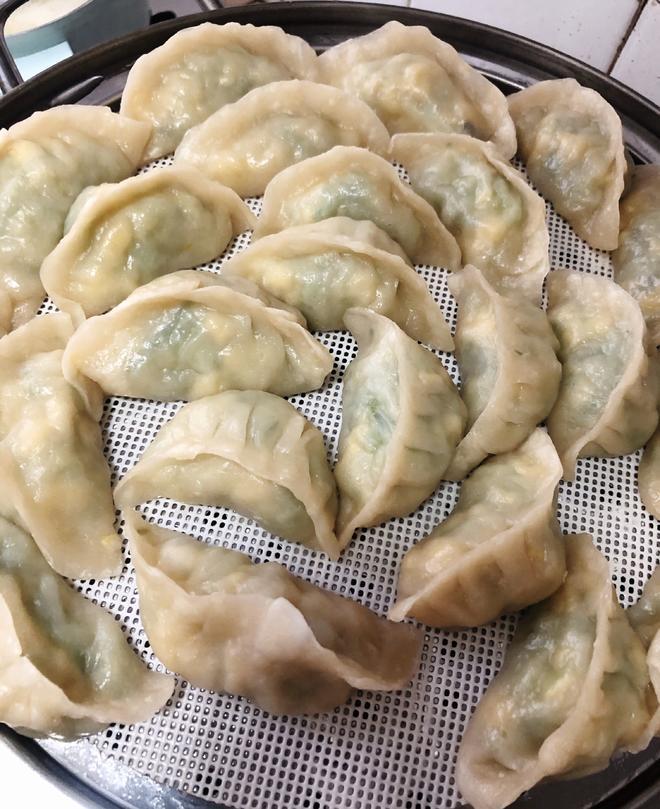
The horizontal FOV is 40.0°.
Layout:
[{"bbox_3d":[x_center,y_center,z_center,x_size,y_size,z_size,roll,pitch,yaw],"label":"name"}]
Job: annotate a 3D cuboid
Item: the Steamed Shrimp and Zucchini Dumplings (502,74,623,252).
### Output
[{"bbox_3d":[0.542,-0.526,2.067,0.151,0.289,0.369,-30,61,35],"label":"Steamed Shrimp and Zucchini Dumplings"}]
